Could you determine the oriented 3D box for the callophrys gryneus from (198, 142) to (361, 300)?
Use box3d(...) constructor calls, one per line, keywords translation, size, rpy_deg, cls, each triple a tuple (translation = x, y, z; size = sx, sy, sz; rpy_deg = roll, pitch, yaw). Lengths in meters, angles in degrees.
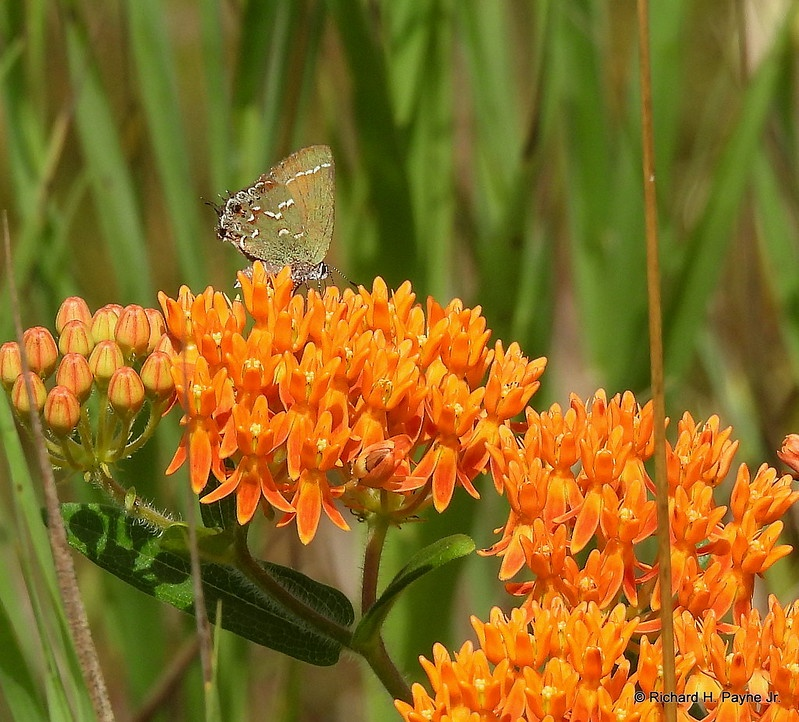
box3d(translation=(-0.161, -0.147, 1.444), size=(0.136, 0.150, 0.165), rpy_deg=(7, 0, 1), cls="callophrys gryneus")
